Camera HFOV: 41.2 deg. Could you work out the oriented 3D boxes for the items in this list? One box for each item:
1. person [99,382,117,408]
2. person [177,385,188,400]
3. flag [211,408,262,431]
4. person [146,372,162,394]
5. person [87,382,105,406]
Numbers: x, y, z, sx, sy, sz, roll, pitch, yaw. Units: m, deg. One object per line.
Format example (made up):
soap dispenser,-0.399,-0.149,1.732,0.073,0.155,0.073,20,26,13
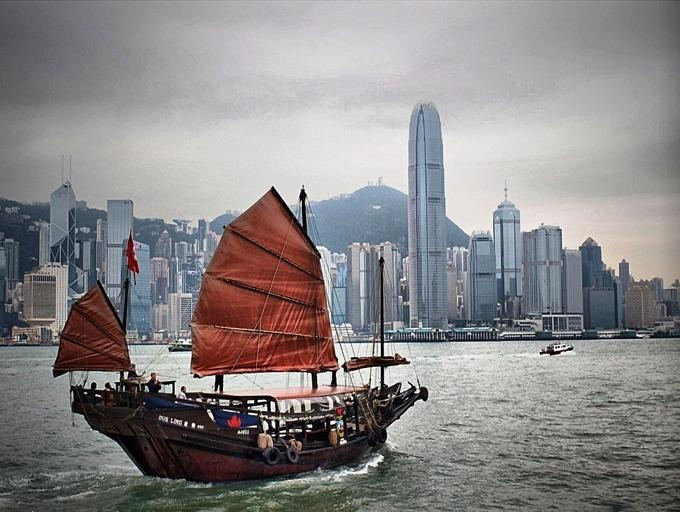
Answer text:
person,-8.871,5.279,34.474,0.768,0.686,0.787,-1,-12,-3
person,-6.285,5.360,35.520,0.540,0.645,1.622,1,-9,-7
flag,-4.012,6.136,34.217,1.875,0.844,0.153,1,-7,-22
person,-7.225,4.856,34.793,0.517,0.694,1.018,-3,-7,10
person,-9.336,5.261,34.590,0.733,0.649,0.746,3,-3,43
